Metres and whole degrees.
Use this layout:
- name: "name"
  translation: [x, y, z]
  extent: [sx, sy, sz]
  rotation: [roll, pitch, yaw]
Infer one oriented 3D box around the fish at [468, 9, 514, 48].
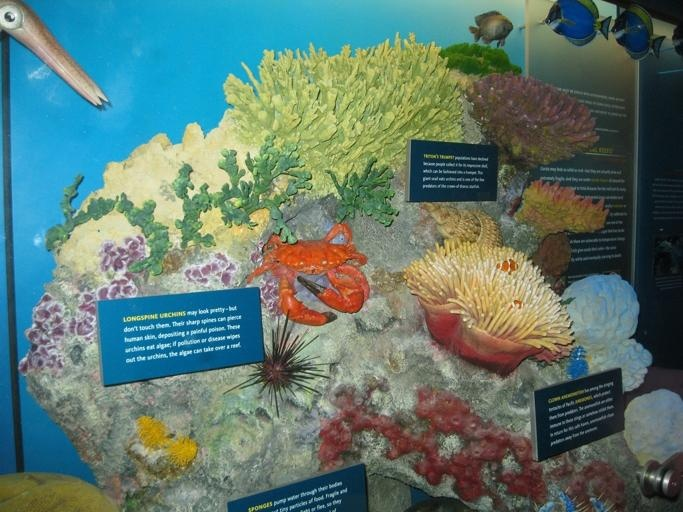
- name: "fish"
  translation: [1.085, -1.653, 4.344]
  extent: [0.320, 0.164, 0.193]
  rotation: [-7, 64, 0]
